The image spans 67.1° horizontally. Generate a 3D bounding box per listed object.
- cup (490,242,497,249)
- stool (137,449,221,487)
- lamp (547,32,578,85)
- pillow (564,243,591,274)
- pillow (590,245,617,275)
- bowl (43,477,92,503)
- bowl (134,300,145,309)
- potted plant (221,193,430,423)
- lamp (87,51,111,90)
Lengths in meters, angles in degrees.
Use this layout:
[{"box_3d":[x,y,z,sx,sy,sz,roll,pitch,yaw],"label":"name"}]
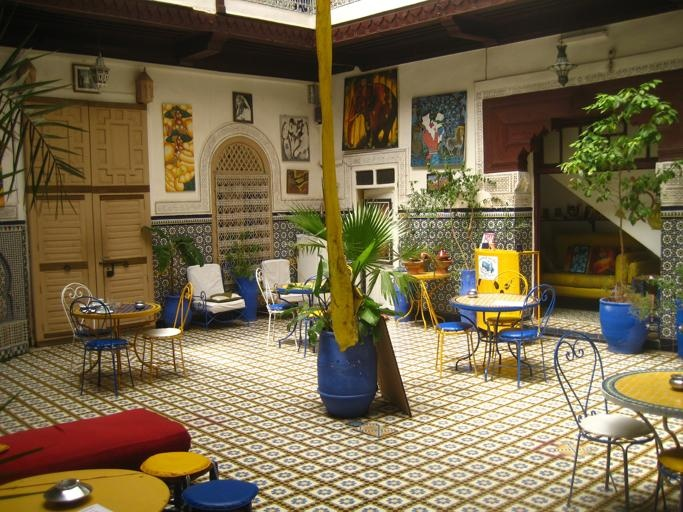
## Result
[{"box_3d":[2.783,-0.192,9.501,0.134,0.156,0.137,-3,3,0],"label":"cup"},{"box_3d":[-1.089,1.363,3.342,0.342,0.171,0.350,2,5,25],"label":"stool"},{"box_3d":[3.606,-3.212,8.366,0.345,0.798,0.680,1,6,24],"label":"lamp"},{"box_3d":[5.233,0.039,11.400,0.141,0.580,0.591,17,-6,-34],"label":"pillow"},{"box_3d":[5.570,0.105,11.016,0.158,0.598,0.530,28,-19,-35],"label":"pillow"},{"box_3d":[-1.372,1.181,2.566,0.132,0.052,0.130,5,4,0],"label":"bowl"},{"box_3d":[-2.787,0.674,7.133,0.116,0.082,0.119,1,-1,0],"label":"bowl"},{"box_3d":[0.001,0.514,6.570,1.273,2.372,3.148,-2,6,-6],"label":"potted plant"},{"box_3d":[-4.187,-3.230,8.897,0.277,0.725,0.942,-4,6,-25],"label":"lamp"}]
